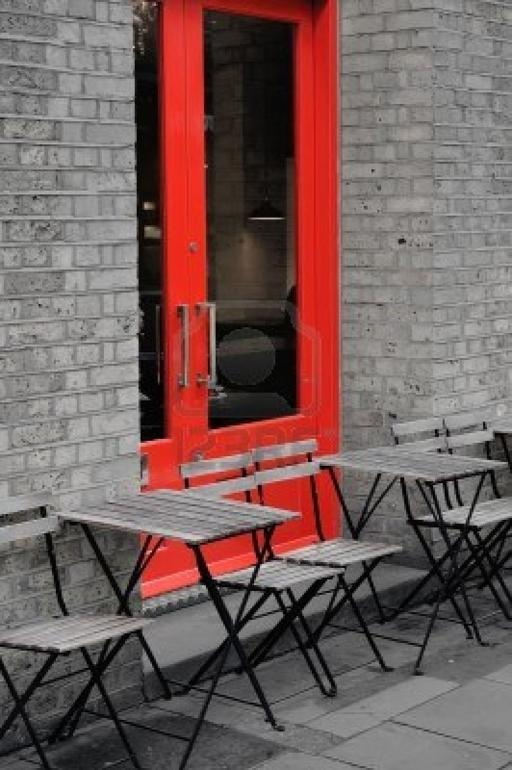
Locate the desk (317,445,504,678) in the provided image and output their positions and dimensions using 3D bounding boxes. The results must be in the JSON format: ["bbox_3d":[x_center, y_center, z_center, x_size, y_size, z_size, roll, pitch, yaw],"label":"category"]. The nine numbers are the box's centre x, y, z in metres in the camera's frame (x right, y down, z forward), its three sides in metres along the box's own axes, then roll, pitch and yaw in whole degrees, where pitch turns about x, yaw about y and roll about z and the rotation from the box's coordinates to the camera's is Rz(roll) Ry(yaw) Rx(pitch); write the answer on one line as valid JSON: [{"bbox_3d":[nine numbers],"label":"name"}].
[{"bbox_3d":[0.713,0.762,4.343,0.958,1.178,1.019,4,7,39],"label":"desk"}]
